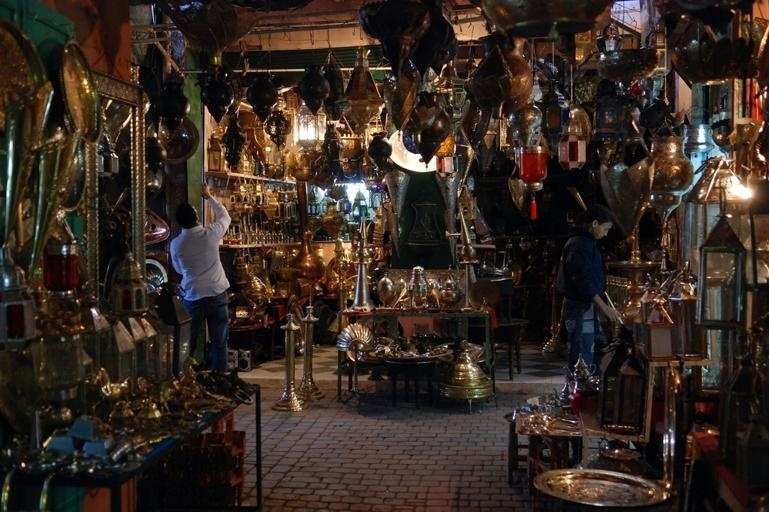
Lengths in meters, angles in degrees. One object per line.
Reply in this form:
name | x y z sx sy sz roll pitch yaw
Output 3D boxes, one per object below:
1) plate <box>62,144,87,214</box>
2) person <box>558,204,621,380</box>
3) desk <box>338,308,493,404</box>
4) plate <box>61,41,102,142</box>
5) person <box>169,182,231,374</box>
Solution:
plate | -1.418 -0.350 3.769 0.062 0.299 0.274 3 -1 -35
person | 1.870 0.295 7.498 0.494 1.503 0.689 0 4 9
desk | 0.431 0.976 8.112 1.593 0.976 1.371 2 5 29
plate | -1.372 -0.741 3.633 0.163 0.462 0.187 -2 4 -22
person | -1.750 0.236 7.769 0.562 1.785 0.574 -2 4 -17
